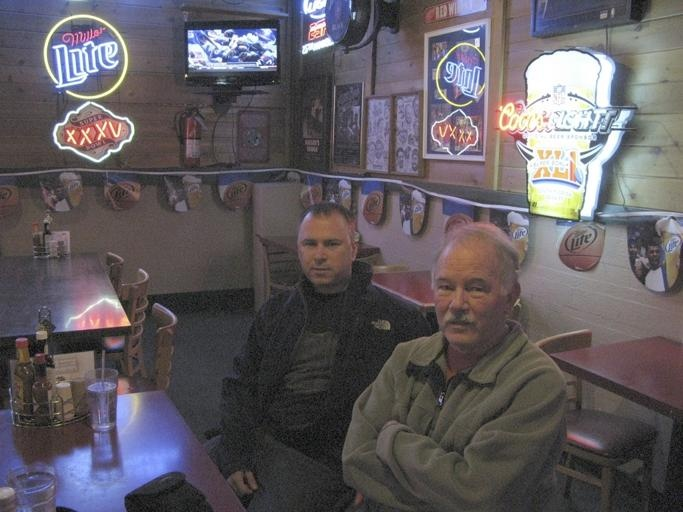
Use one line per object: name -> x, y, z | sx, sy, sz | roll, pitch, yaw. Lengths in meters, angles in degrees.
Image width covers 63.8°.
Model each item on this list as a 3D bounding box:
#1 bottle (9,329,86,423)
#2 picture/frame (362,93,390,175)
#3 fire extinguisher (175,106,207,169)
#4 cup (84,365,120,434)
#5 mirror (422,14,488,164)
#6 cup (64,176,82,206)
bottle -> -1.219, 0.508, 2.271 | 0.255, 0.362, 0.228 | 4, 11, 33
picture/frame -> 0.365, -1.209, 5.439 | 0.040, 0.747, 0.465 | -6, 10, -27
fire extinguisher -> -1.812, -1.422, 6.610 | 0.333, 0.708, 0.195 | -4, 9, -14
cup -> -0.998, 0.572, 2.292 | 0.126, 0.240, 0.270 | -6, 10, -26
mirror -> 0.939, -1.333, 4.502 | 0.056, 1.087, 0.732 | -6, 10, -29
cup -> -3.000, -0.726, 6.192 | 0.211, 0.293, 0.245 | 3, 14, 3
